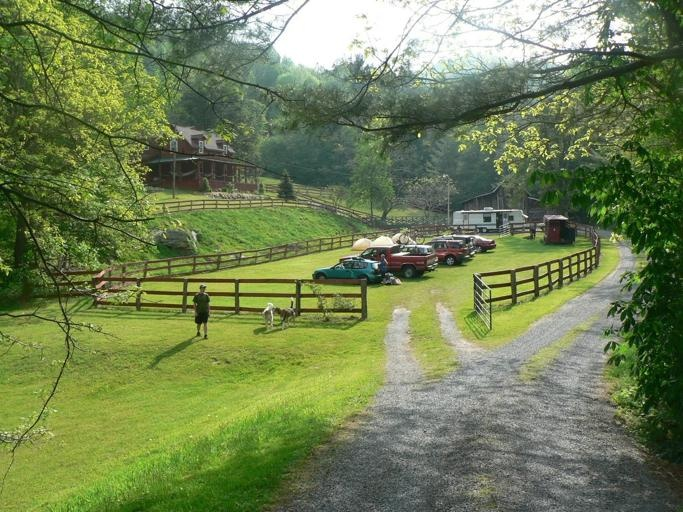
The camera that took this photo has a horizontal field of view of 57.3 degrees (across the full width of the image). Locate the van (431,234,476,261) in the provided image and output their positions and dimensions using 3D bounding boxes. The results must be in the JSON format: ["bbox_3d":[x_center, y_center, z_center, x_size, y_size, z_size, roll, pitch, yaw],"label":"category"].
[{"bbox_3d":[7.372,-0.378,41.300,2.664,1.251,1.573,4,7,20],"label":"van"}]

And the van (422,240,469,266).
[{"bbox_3d":[6.884,-0.350,41.392,2.762,1.172,1.366,6,8,20],"label":"van"}]

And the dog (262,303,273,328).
[{"bbox_3d":[-2.941,2.346,25.010,0.496,0.867,1.098,-12,8,-7],"label":"dog"}]

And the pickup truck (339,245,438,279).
[{"bbox_3d":[3.065,0.326,36.691,4.526,1.565,2.206,3,4,22],"label":"pickup truck"}]

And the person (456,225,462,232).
[{"bbox_3d":[11.907,-2.787,63.751,0.556,0.600,1.354,-10,8,8],"label":"person"}]

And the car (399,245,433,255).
[{"bbox_3d":[4.253,-0.329,36.192,1.749,0.656,1.022,-5,10,37],"label":"car"}]

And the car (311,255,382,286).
[{"bbox_3d":[0.399,0.784,33.111,2.643,1.243,1.571,4,-1,3],"label":"car"}]
